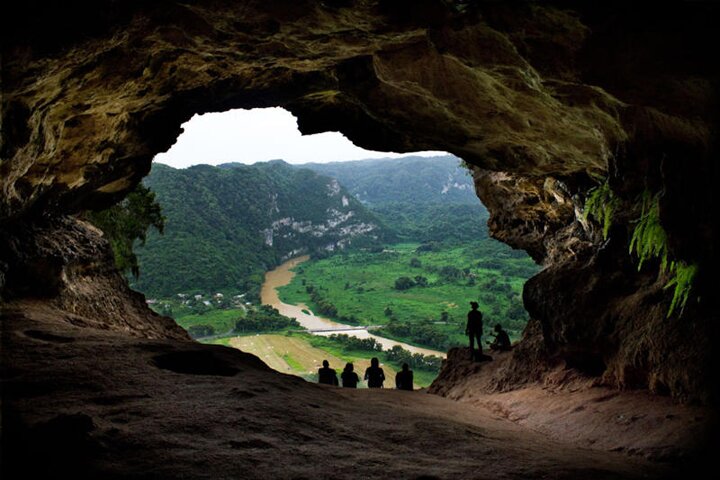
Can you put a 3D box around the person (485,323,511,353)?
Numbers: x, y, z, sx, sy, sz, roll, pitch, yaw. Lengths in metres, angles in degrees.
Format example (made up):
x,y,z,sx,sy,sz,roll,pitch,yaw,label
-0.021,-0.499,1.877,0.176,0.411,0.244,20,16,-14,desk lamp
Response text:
x,y,z,sx,sy,sz,roll,pitch,yaw,label
4.443,3.022,17.306,0.510,0.983,0.935,4,13,6,person

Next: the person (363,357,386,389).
x,y,z,sx,sy,sz,roll,pitch,yaw,label
0.388,3.332,14.274,0.475,0.980,0.823,3,13,1,person
